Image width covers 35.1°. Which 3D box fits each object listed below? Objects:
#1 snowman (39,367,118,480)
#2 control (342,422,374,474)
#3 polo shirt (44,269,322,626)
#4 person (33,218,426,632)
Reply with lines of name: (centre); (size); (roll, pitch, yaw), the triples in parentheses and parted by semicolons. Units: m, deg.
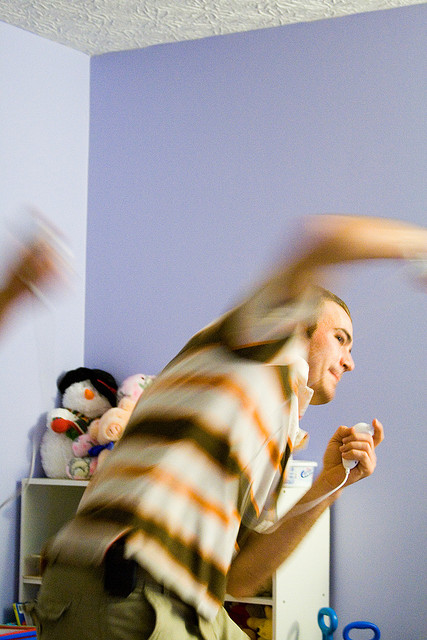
snowman: (-0.362, 0.281, 1.861); (0.212, 0.267, 0.175); (12, -6, -33)
control: (0.317, 0.288, 1.522); (0.084, 0.102, 0.060); (-1, 0, -3)
polo shirt: (-0.055, 0.261, 1.509); (0.432, 0.676, 0.519); (-2, -6, -1)
person: (0.050, 0.208, 1.438); (0.511, 0.866, 0.774); (19, 20, 29)
